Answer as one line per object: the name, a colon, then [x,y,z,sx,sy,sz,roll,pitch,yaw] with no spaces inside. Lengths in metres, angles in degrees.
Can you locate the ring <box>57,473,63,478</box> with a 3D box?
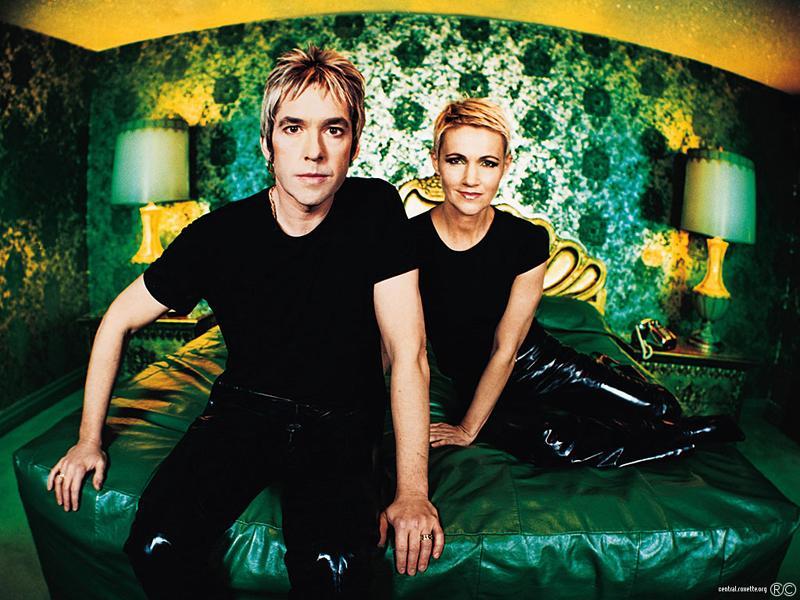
ring: [-1.212,0.622,2.317,0.016,0.005,0.012,-4,51,-10]

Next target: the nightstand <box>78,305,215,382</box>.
nightstand: [-1.486,0.231,4.031,0.672,0.695,0.513,0,4,13]

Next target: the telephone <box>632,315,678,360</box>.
telephone: [1.490,0.226,3.833,0.161,0.110,0.303,-11,20,-1]

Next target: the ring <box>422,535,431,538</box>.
ring: [0.092,0.779,2.150,0.015,0.012,0.016,-2,-15,-1]
